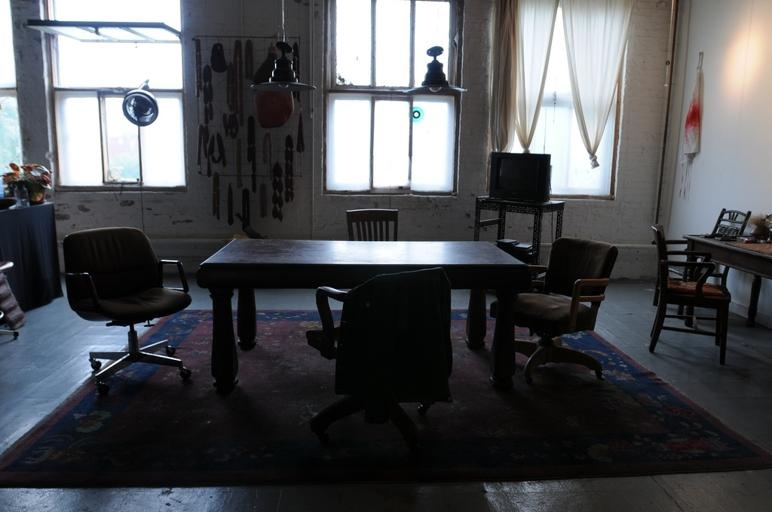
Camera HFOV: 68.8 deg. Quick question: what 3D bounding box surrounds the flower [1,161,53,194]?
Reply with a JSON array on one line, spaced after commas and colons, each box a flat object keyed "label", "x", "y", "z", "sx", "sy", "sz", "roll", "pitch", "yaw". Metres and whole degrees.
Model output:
[{"label": "flower", "x": -4.149, "y": -0.908, "z": 6.417, "sx": 0.560, "sy": 0.305, "sz": 0.541, "roll": 3, "pitch": 11, "yaw": 13}]

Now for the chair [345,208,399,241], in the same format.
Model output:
[{"label": "chair", "x": -0.151, "y": -0.327, "z": 6.180, "sx": 0.521, "sy": 0.390, "sz": 0.921, "roll": -1, "pitch": 15, "yaw": -3}]

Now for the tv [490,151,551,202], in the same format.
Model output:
[{"label": "tv", "x": 1.651, "y": -0.961, "z": 6.857, "sx": 0.627, "sy": 0.464, "sz": 0.320, "roll": 5, "pitch": 12, "yaw": 35}]

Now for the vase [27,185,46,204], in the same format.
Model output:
[{"label": "vase", "x": -3.961, "y": -0.705, "z": 6.403, "sx": 0.189, "sy": 0.186, "sz": 0.180, "roll": 1, "pitch": -3, "yaw": -7}]

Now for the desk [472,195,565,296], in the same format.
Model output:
[{"label": "desk", "x": 1.626, "y": -0.167, "z": 7.356, "sx": 1.324, "sy": 1.188, "sz": 0.959, "roll": 5, "pitch": 8, "yaw": 25}]

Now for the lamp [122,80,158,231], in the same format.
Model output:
[{"label": "lamp", "x": -3.189, "y": -1.314, "z": 7.471, "sx": 0.390, "sy": 1.963, "sz": 0.608, "roll": -8, "pitch": 17, "yaw": -23}]
